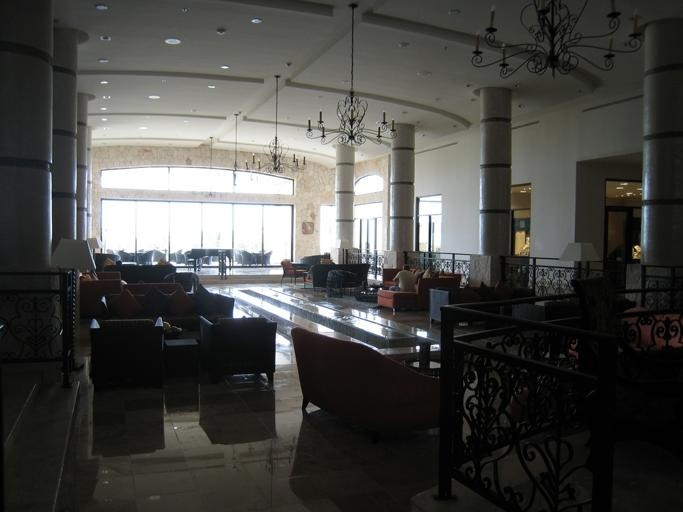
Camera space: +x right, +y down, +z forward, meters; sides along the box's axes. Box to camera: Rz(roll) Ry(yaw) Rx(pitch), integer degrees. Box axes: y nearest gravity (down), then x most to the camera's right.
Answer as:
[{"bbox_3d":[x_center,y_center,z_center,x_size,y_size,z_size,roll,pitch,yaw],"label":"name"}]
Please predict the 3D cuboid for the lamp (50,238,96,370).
[{"bbox_3d":[-3.617,0.492,7.240,0.437,1.104,0.442,-30,-9,21],"label":"lamp"}]

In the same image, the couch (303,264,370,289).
[{"bbox_3d":[-0.051,0.605,14.716,1.554,0.698,0.913,1,5,-2],"label":"couch"}]

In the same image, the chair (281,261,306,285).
[{"bbox_3d":[-1.552,0.572,17.875,0.813,0.968,0.716,0,0,35],"label":"chair"}]

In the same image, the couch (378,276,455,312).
[{"bbox_3d":[1.655,0.878,11.800,1.121,0.721,0.860,2,-2,-11],"label":"couch"}]

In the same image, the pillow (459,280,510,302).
[{"bbox_3d":[2.582,0.669,9.521,0.524,0.169,0.460,-5,8,-37],"label":"pillow"}]
